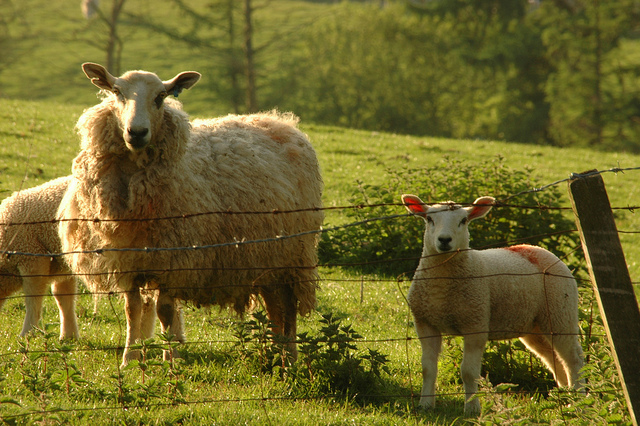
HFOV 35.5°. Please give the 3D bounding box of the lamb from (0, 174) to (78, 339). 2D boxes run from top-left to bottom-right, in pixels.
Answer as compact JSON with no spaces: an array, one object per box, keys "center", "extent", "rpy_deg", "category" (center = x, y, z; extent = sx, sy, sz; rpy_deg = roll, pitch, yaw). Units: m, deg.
[{"center":[-5.356,0.818,18.969],"extent":[1.487,3.083,0.988],"rpy_deg":[1,1,-9],"category":"lamb"}]
